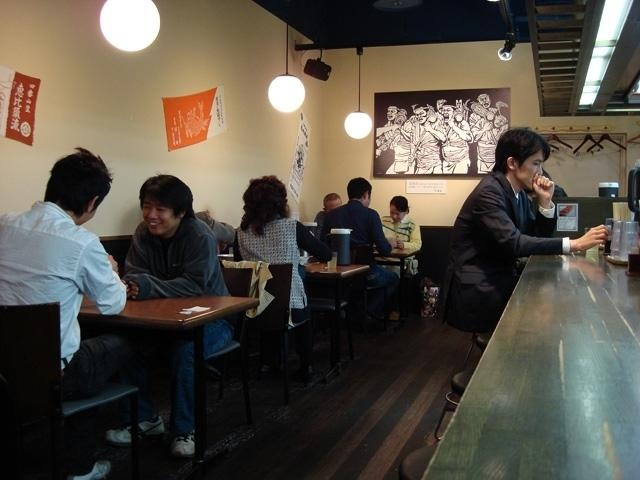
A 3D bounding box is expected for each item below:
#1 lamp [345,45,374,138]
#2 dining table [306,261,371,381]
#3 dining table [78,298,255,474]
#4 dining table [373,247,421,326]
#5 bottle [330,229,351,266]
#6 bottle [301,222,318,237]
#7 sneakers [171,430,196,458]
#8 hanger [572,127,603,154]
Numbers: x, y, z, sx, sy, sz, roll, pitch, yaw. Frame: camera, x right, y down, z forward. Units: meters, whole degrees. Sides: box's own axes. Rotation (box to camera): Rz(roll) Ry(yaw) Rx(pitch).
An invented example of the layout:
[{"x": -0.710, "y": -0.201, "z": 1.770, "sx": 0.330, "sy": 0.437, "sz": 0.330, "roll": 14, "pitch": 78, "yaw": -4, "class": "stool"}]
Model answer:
[{"x": 0.603, "y": -2.285, "z": 6.673, "sx": 0.422, "sy": 1.473, "sz": 0.729, "roll": 1, "pitch": 3, "yaw": 5, "class": "lamp"}, {"x": 0.173, "y": 0.794, "z": 4.253, "sx": 0.637, "sy": 0.959, "sz": 0.988, "roll": -1, "pitch": 0, "yaw": 31, "class": "dining table"}, {"x": -0.864, "y": 0.819, "z": 2.383, "sx": 0.932, "sy": 0.703, "sz": 0.499, "roll": -1, "pitch": -2, "yaw": 33, "class": "dining table"}, {"x": 0.937, "y": 0.598, "z": 5.970, "sx": 0.823, "sy": 0.863, "sz": 0.860, "roll": -1, "pitch": -2, "yaw": 30, "class": "dining table"}, {"x": 0.183, "y": 0.062, "z": 3.988, "sx": 0.275, "sy": 0.361, "sz": 0.210, "roll": -1, "pitch": -1, "yaw": 18, "class": "bottle"}, {"x": -0.095, "y": -0.123, "z": 4.450, "sx": 0.161, "sy": 0.185, "sz": 0.169, "roll": 0, "pitch": 6, "yaw": 7, "class": "bottle"}, {"x": -0.784, "y": 1.170, "z": 2.543, "sx": 0.113, "sy": 0.129, "sz": 0.274, "roll": 0, "pitch": -11, "yaw": 2, "class": "sneakers"}, {"x": 3.906, "y": -1.458, "z": 6.304, "sx": 0.361, "sy": 0.273, "sz": 0.040, "roll": -1, "pitch": -4, "yaw": 26, "class": "hanger"}]
